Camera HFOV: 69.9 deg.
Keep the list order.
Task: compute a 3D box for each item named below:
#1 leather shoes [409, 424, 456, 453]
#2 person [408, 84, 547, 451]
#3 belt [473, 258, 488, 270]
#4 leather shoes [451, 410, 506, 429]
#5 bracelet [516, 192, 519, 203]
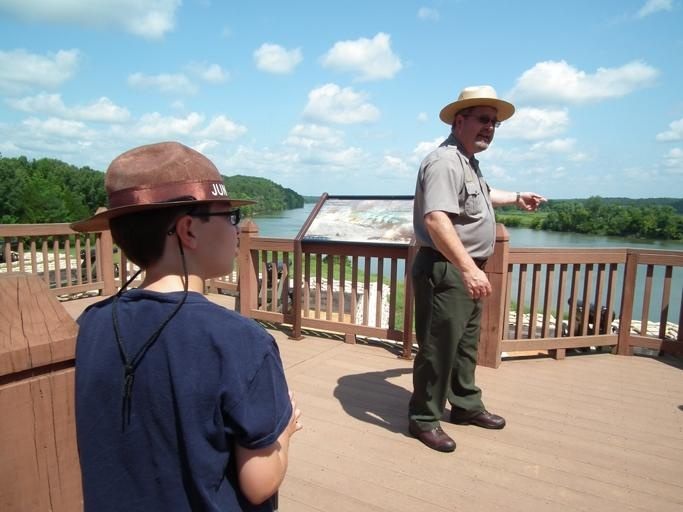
[{"bbox_3d":[0.607,1.213,3.278,0.326,0.140,0.122,5,16,39],"label":"leather shoes"},{"bbox_3d":[0.761,0.063,3.249,0.671,2.396,0.842,6,10,28],"label":"person"},{"bbox_3d":[0.918,0.049,3.254,0.072,0.093,0.098,-8,-13,29],"label":"belt"},{"bbox_3d":[0.978,1.155,3.559,0.390,0.174,0.147,-1,3,13],"label":"leather shoes"},{"bbox_3d":[1.415,-0.483,3.935,0.013,0.056,0.057,9,-20,8],"label":"bracelet"}]
